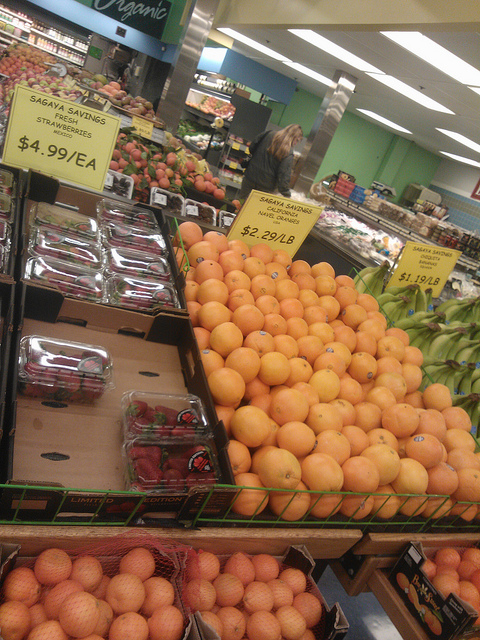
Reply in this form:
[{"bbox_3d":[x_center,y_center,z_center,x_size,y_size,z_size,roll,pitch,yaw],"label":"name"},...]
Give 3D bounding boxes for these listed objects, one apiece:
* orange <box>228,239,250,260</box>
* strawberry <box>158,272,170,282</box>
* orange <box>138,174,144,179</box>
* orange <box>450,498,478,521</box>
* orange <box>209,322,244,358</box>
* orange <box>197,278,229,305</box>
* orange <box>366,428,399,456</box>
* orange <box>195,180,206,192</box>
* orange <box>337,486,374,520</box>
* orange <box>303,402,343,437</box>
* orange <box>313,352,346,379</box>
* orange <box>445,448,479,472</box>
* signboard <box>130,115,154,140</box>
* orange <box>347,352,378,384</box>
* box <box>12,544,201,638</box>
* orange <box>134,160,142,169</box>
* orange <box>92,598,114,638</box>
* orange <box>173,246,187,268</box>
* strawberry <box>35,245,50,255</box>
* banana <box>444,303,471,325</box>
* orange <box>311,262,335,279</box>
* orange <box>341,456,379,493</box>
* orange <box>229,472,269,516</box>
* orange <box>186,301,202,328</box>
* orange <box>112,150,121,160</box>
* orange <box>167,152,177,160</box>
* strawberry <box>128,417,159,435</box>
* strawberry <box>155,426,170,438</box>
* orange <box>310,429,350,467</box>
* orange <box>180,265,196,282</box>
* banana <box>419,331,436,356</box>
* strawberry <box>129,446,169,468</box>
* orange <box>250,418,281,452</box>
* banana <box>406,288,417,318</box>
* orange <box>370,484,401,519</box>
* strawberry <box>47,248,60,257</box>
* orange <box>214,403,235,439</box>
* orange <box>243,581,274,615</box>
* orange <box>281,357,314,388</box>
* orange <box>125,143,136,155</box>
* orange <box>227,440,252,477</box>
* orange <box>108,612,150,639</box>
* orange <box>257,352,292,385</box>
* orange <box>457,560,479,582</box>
[{"bbox_3d":[0.003,-0.310,2.022,0.091,0.099,0.085,-1,28,4],"label":"orange"},{"bbox_3d":[-0.293,-0.157,1.748,0.034,0.030,0.032,0,7,1],"label":"strawberry"},{"bbox_3d":[-0.805,-1.141,3.711,0.043,0.039,0.042,-3,7,-30],"label":"orange"},{"bbox_3d":[0.762,0.643,1.570,0.069,0.066,0.068,24,-17,48],"label":"orange"},{"bbox_3d":[-0.050,0.072,1.549,0.114,0.124,0.112,4,-9,-13],"label":"orange"},{"bbox_3d":[-0.107,-0.101,1.771,0.101,0.112,0.096,-3,58,-8],"label":"orange"},{"bbox_3d":[0.466,0.390,1.504,0.092,0.082,0.085,0,-4,-3],"label":"orange"},{"bbox_3d":[-0.366,-1.217,4.270,0.096,0.090,0.108,28,-5,-17],"label":"orange"},{"bbox_3d":[0.325,0.537,1.360,0.106,0.117,0.099,-1,48,10],"label":"orange"},{"bbox_3d":[0.255,0.305,1.442,0.102,0.111,0.096,2,35,7],"label":"orange"},{"bbox_3d":[0.327,0.157,1.724,0.094,0.091,0.104,12,54,-1],"label":"orange"},{"bbox_3d":[0.784,0.490,1.614,0.076,0.095,0.077,63,9,15],"label":"orange"},{"bbox_3d":[-0.894,-1.722,4.178,0.192,0.129,0.325,16,25,-19],"label":"signboard"},{"bbox_3d":[0.473,0.184,1.775,0.117,0.112,0.131,-15,-5,-6],"label":"orange"},{"bbox_3d":[-0.250,0.573,1.002,0.218,0.068,0.222,18,38,-19],"label":"box"},{"bbox_3d":[-0.837,-1.251,3.754,0.064,0.059,0.073,-8,-7,-19],"label":"orange"},{"bbox_3d":[-0.258,0.561,0.876,0.054,0.051,0.059,-4,65,-16],"label":"orange"},{"bbox_3d":[-0.255,-0.259,1.928,0.077,0.072,0.088,-2,0,-1],"label":"orange"},{"bbox_3d":[-0.670,-0.231,1.547,0.046,0.022,0.024,6,30,-36],"label":"strawberry"},{"bbox_3d":[1.317,-0.061,2.819,0.097,0.096,0.082,-1,36,-46],"label":"banana"},{"bbox_3d":[0.394,-0.230,2.243,0.095,0.086,0.081,40,33,-47],"label":"orange"},{"bbox_3d":[0.344,0.450,1.367,0.104,0.092,0.100,1,3,-3],"label":"orange"},{"bbox_3d":[0.023,0.458,1.205,0.109,0.118,0.103,3,-12,-4],"label":"orange"},{"bbox_3d":[-0.180,-0.014,1.694,0.084,0.076,0.097,2,10,-15],"label":"orange"},{"bbox_3d":[-0.969,-1.274,3.602,0.063,0.069,0.060,1,-19,-5],"label":"orange"},{"bbox_3d":[-0.604,-1.429,4.047,0.088,0.076,0.082,0,-17,-3],"label":"orange"},{"bbox_3d":[-0.251,0.273,1.178,0.074,0.042,0.048,5,29,-9],"label":"strawberry"},{"bbox_3d":[-0.204,0.291,1.187,0.030,0.020,0.028,-1,-18,9],"label":"strawberry"},{"bbox_3d":[0.273,0.384,1.413,0.106,0.101,0.119,19,59,-9],"label":"orange"},{"bbox_3d":[-0.205,-0.180,1.855,0.060,0.064,0.057,1,17,2],"label":"orange"},{"bbox_3d":[0.983,0.129,2.414,0.049,0.128,0.031,21,-6,-28],"label":"banana"},{"bbox_3d":[-0.222,0.330,1.111,0.085,0.041,0.038,8,-4,-10],"label":"strawberry"},{"bbox_3d":[0.083,0.344,1.403,0.097,0.088,0.110,0,1,3],"label":"orange"},{"bbox_3d":[0.959,-0.091,2.575,0.041,0.160,0.059,8,11,-7],"label":"banana"},{"bbox_3d":[0.453,0.572,1.452,0.104,0.099,0.110,8,66,-13],"label":"orange"},{"bbox_3d":[-0.639,-0.223,1.567,0.037,0.018,0.023,13,26,-24],"label":"strawberry"},{"bbox_3d":[-0.046,0.302,1.396,0.084,0.090,0.080,7,17,4],"label":"orange"},{"bbox_3d":[0.039,0.668,1.119,0.061,0.060,0.070,7,27,-7],"label":"orange"},{"bbox_3d":[0.204,0.184,1.657,0.097,0.107,0.094,9,28,-33],"label":"orange"},{"bbox_3d":[-0.907,-1.390,3.803,0.084,0.078,0.093,2,61,-11],"label":"orange"},{"bbox_3d":[-0.003,0.379,1.269,0.094,0.102,0.090,1,6,-4],"label":"orange"},{"bbox_3d":[-0.213,0.570,0.878,0.058,0.051,0.063,7,43,-10],"label":"orange"},{"bbox_3d":[0.107,0.156,1.567,0.105,0.118,0.104,-7,61,1],"label":"orange"},{"bbox_3d":[0.746,0.818,1.511,0.058,0.054,0.067,17,44,23],"label":"orange"}]
